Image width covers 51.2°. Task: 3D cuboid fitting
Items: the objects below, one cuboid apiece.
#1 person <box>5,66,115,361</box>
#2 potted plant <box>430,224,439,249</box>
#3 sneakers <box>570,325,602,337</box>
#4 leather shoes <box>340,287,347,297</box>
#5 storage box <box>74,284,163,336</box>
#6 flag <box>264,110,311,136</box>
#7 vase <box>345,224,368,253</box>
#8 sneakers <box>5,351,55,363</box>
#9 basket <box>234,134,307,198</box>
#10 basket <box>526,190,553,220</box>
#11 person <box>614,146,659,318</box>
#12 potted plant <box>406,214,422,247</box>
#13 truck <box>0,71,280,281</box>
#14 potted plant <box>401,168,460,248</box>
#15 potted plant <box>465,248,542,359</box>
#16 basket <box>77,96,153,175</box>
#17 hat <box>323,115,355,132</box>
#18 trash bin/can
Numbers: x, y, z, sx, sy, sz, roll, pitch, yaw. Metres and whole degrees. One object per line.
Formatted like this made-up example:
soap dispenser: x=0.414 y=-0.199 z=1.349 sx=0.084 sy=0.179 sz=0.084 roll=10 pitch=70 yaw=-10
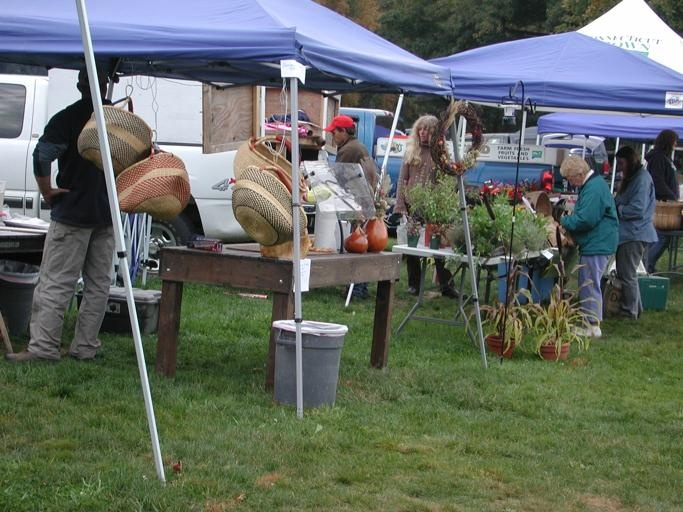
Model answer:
person: x=-2.395 y=-0.351 z=6.135 sx=0.781 sy=2.562 sz=0.367 roll=-1 pitch=6 yaw=-30
potted plant: x=1.042 y=-0.197 z=7.708 sx=0.115 sy=0.255 sz=0.057 roll=3 pitch=6 yaw=-1
sneakers: x=2.855 y=0.858 z=8.122 sx=0.276 sy=0.158 sz=0.173 roll=6 pitch=1 yaw=11
leather shoes: x=0.022 y=0.502 z=9.737 sx=0.051 sy=0.133 sz=0.121 roll=2 pitch=-11 yaw=1
storage box: x=-2.267 y=0.563 z=7.227 sx=0.684 sy=0.442 sz=0.600 roll=2 pitch=0 yaw=15
flag: x=-0.805 y=-1.844 z=10.014 sx=0.939 sy=0.372 sz=0.683 roll=3 pitch=8 yaw=0
vase: x=0.139 y=-0.145 z=6.298 sx=0.181 sy=0.334 sz=0.212 roll=1 pitch=-3 yaw=11
sneakers: x=-2.737 y=0.851 z=6.082 sx=0.362 sy=0.147 sz=0.151 roll=1 pitch=-5 yaw=-1
basket: x=-0.623 y=-0.750 z=5.878 sx=0.222 sy=0.498 sz=0.540 roll=-25 pitch=-16 yaw=29
basket: x=2.683 y=-0.689 z=9.486 sx=0.319 sy=0.323 sz=0.783 roll=8 pitch=8 yaw=33
person: x=3.857 y=-0.286 z=9.276 sx=0.633 sy=2.213 sz=0.465 roll=1 pitch=6 yaw=-21
potted plant: x=0.802 y=-0.267 z=7.872 sx=0.199 sy=0.379 sz=0.229 roll=1 pitch=-4 yaw=0
truck: x=-2.795 y=-1.137 z=9.560 sx=3.239 sy=2.380 sz=2.031 roll=6 pitch=5 yaw=9
potted plant: x=1.057 y=-0.556 z=8.140 sx=0.614 sy=1.094 sz=0.872 roll=0 pitch=2 yaw=12
potted plant: x=1.798 y=0.559 z=7.556 sx=0.539 sy=0.990 sz=0.834 roll=-1 pitch=9 yaw=-4
basket: x=-1.834 y=-0.927 z=5.738 sx=0.531 sy=0.528 sz=0.431 roll=9 pitch=35 yaw=26
hat: x=-0.035 y=-1.619 z=8.735 sx=0.372 sy=0.219 sz=0.481 roll=4 pitch=8 yaw=-4
trash bin/can: x=-0.221 y=0.846 z=5.653 sx=0.571 sy=0.624 sz=0.577 roll=0 pitch=-2 yaw=40
